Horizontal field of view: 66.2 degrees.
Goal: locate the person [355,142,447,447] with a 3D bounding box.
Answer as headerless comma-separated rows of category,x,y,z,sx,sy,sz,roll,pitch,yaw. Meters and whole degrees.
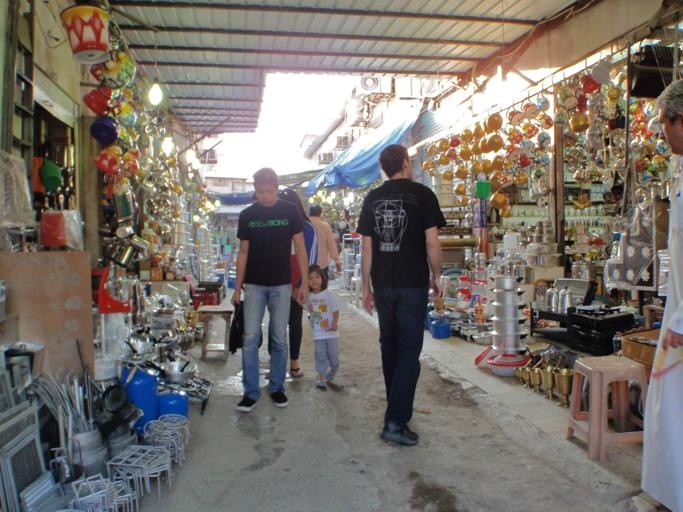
person,0.431,0.253,4.127,0.516,2.281,0.671,-3,6,-15

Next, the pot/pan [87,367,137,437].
pot/pan,-1.524,1.022,3.544,0.245,0.288,0.150,-2,-33,-45

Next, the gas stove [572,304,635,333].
gas stove,2.325,0.564,4.688,0.523,0.157,0.480,-1,6,3

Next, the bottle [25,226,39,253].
bottle,-2.388,-0.137,4.037,0.088,0.194,0.313,-4,7,-28

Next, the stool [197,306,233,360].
stool,-1.600,1.004,6.823,0.573,0.605,0.530,0,-4,26

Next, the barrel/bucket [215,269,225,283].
barrel/bucket,-3.679,0.600,15.860,0.290,0.311,0.548,0,1,-10

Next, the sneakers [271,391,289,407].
sneakers,-0.557,1.285,4.737,0.136,0.107,0.201,-4,6,-21

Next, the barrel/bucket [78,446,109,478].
barrel/bucket,-1.531,1.274,3.276,0.147,0.170,0.163,0,2,-3

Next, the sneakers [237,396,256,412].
sneakers,-0.831,1.303,4.619,0.178,0.108,0.134,-3,6,-13

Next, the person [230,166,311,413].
person,-0.647,0.267,4.822,0.713,2.143,0.634,-3,6,-13

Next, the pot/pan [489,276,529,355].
pot/pan,1.781,0.611,5.564,0.355,0.803,0.356,0,6,13

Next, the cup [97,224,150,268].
cup,-2.442,-0.109,5.811,0.363,0.461,0.533,-18,-1,8

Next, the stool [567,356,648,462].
stool,1.933,1.074,3.837,0.467,0.650,0.465,-2,6,-5

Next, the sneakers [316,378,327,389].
sneakers,-0.199,1.261,5.209,0.107,0.060,0.153,-2,6,-3

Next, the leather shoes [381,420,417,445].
leather shoes,0.442,1.335,3.977,0.243,0.163,0.128,0,1,7

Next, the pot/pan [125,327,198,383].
pot/pan,-1.578,0.871,4.673,0.381,0.298,0.625,7,-7,-6

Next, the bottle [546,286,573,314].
bottle,2.182,0.438,5.311,0.218,0.211,0.227,-3,5,-19
